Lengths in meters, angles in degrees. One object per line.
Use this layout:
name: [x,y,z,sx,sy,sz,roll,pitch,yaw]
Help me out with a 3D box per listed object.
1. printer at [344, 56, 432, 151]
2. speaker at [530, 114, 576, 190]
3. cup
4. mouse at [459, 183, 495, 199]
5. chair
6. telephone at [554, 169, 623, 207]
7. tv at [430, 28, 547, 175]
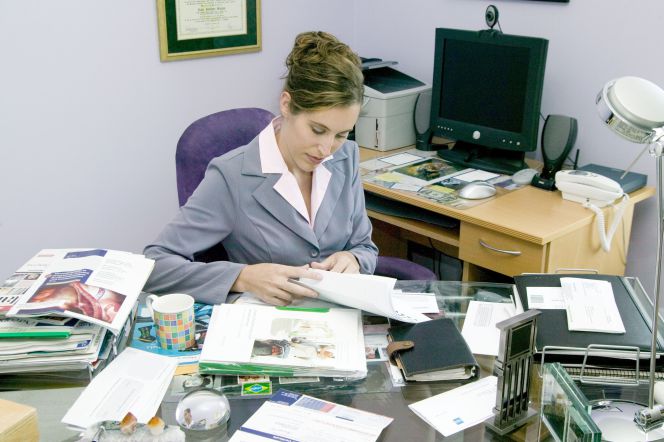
printer: [0.308,-0.703,2.983,0.358,0.436,0.472,17,32,33]
speaker: [1.090,-0.344,2.451,0.241,0.338,0.209,-3,18,-2]
cup: [-0.430,0.272,1.356,0.099,0.130,0.147,-8,22,-28]
mouse: [0.700,-0.140,2.373,0.129,0.038,0.088,-12,22,-30]
chair: [-0.107,-0.188,2.240,0.788,1.045,0.914,-17,26,-38]
telephone: [1.168,-0.155,2.267,0.213,0.079,0.189,17,26,32]
tv: [0.821,-0.622,2.546,0.637,0.656,0.427,19,32,37]
